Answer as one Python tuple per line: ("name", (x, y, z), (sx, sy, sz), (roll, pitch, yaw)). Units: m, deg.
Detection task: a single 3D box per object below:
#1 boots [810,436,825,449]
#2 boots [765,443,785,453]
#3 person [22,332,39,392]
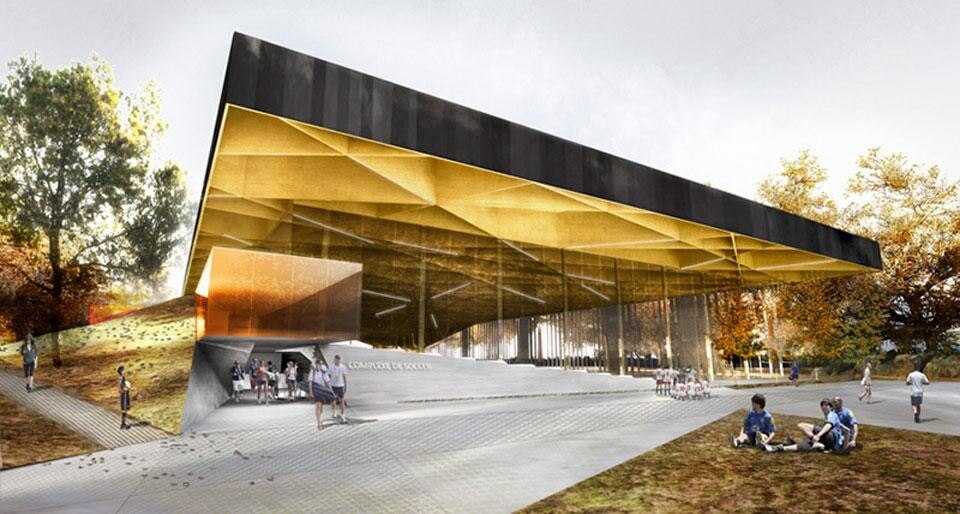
("boots", (15.979, 8.852, 26.496), (0.968, 0.388, 0.367), (1, -7, -28))
("boots", (13.989, 9.093, 26.548), (0.670, 0.252, 0.399), (5, -11, -10))
("person", (-23.998, 5.602, 29.711), (0.609, 2.918, 1.155), (1, 1, -39))
